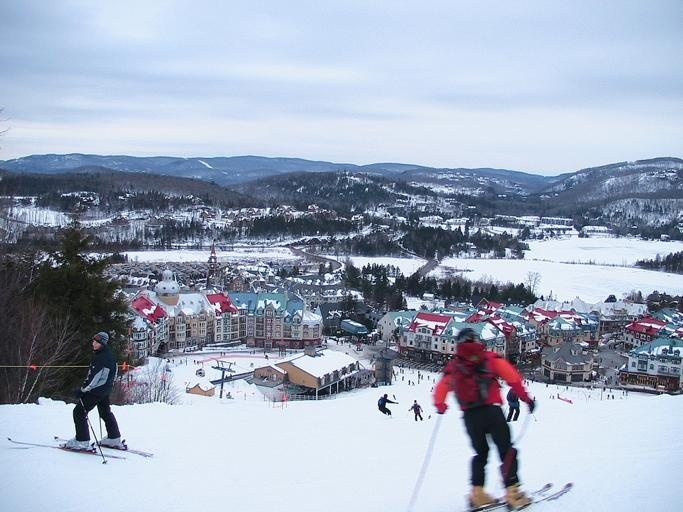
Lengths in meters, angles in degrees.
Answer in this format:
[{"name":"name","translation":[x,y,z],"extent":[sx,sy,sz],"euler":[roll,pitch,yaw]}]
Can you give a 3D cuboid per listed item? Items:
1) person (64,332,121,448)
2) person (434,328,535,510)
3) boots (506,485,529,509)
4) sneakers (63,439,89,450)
[{"name":"person","translation":[-3.164,1.702,9.173],"extent":[0.688,1.467,0.429],"euler":[0,5,-19]},{"name":"person","translation":[1.718,1.911,8.597],"extent":[1.146,2.043,0.592],"euler":[2,5,18]},{"name":"boots","translation":[2.106,2.818,8.455],"extent":[0.352,0.234,0.213],"euler":[-3,6,-41]},{"name":"sneakers","translation":[-3.326,2.358,9.059],"extent":[0.360,0.160,0.127],"euler":[2,3,-1]}]
